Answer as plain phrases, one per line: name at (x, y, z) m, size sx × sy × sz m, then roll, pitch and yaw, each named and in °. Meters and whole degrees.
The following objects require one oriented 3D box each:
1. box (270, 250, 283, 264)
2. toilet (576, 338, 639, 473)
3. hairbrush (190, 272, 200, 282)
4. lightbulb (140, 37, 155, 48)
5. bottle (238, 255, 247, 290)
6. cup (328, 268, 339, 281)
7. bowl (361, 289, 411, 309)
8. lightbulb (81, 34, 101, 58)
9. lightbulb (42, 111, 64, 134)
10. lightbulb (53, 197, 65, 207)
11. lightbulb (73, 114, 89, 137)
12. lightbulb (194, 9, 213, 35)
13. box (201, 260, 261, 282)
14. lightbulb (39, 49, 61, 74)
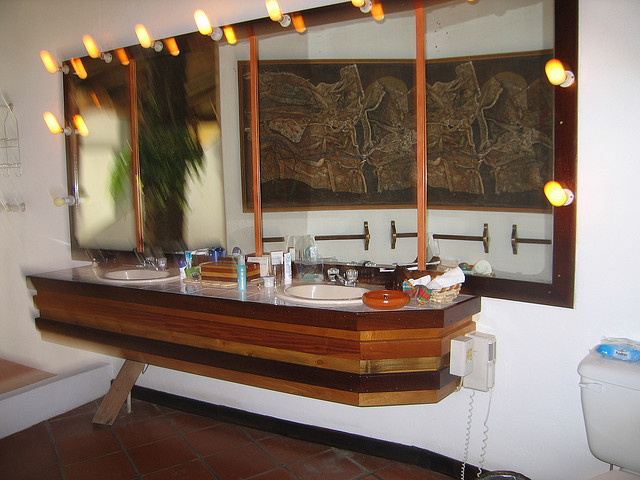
box at (-0.271, 0.117, 3.049) m, size 0.088 × 0.093 × 0.067 m, roll -1°, pitch -7°, yaw 8°
toilet at (1.375, 0.775, 2.285) m, size 0.270 × 0.530 × 0.266 m, roll 6°, pitch 14°, yaw 30°
hairbrush at (-0.812, 0.254, 3.132) m, size 0.047 × 0.048 × 0.049 m, roll -14°, pitch -26°, yaw 33°
lightbulb at (-1.233, -1.383, 3.424) m, size 0.052 × 0.056 × 0.055 m, roll -4°, pitch 13°, yaw -38°
bottle at (-0.472, 0.204, 2.882) m, size 0.044 × 0.192 × 0.083 m, roll -4°, pitch 12°, yaw -13°
cup at (0.084, 0.226, 3.025) m, size 0.055 × 0.074 × 0.031 m, roll 3°, pitch 5°, yaw 16°
bowl at (0.349, 0.323, 2.542) m, size 0.246 × 0.065 × 0.226 m, roll -2°, pitch 12°, yaw 0°
lightbulb at (-1.775, -1.483, 3.717) m, size 0.117 × 0.200 × 0.300 m, roll -7°, pitch 13°, yaw -25°
lightbulb at (-2.137, -0.915, 3.852) m, size 0.122 × 0.166 × 0.287 m, roll -8°, pitch 13°, yaw -26°
lightbulb at (-2.069, -0.288, 3.821) m, size 0.092 × 0.076 × 0.069 m, roll -11°, pitch 6°, yaw -28°
lightbulb at (-1.913, -0.894, 3.856) m, size 0.082 × 0.187 × 0.064 m, roll -22°, pitch -9°, yaw -9°
lightbulb at (-0.773, -1.421, 3.182) m, size 0.105 × 0.145 × 0.122 m, roll -4°, pitch 12°, yaw -10°
box at (-0.575, 0.207, 3.060) m, size 0.362 × 0.121 × 0.188 m, roll 2°, pitch 13°, yaw 17°
lightbulb at (-2.162, -1.412, 3.828) m, size 0.137 × 0.204 × 0.340 m, roll -8°, pitch 14°, yaw -28°
